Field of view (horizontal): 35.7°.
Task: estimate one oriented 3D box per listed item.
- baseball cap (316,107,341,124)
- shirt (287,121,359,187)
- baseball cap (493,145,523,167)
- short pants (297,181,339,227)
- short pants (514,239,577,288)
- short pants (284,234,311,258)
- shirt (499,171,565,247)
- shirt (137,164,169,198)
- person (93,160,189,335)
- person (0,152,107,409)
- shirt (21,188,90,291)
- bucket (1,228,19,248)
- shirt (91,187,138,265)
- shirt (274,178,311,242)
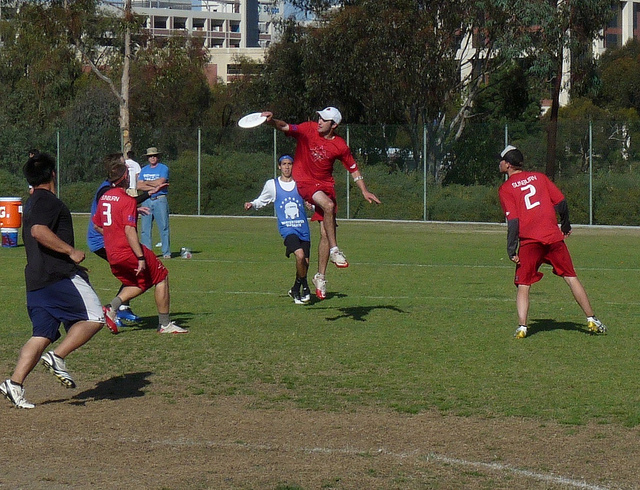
[{"bbox_3d":[0.164,-1.916,14.899,0.291,0.151,0.213,15,11,-32],"label":"baseball cap"},{"bbox_3d":[0.017,-1.362,15.200,0.905,0.988,0.699,1,6,-3],"label":"shirt"},{"bbox_3d":[2.500,-1.166,13.184,0.323,0.186,0.217,31,31,26],"label":"baseball cap"},{"bbox_3d":[-0.028,-0.649,15.367,0.568,0.657,1.038,-2,8,-28],"label":"short pants"},{"bbox_3d":[3.151,0.289,14.028,0.767,0.706,0.310,-6,30,8],"label":"short pants"},{"bbox_3d":[-0.366,0.010,15.655,0.389,0.225,0.368,15,41,-29],"label":"short pants"},{"bbox_3d":[2.758,-0.493,12.931,0.813,0.987,0.327,-10,-11,-7],"label":"shirt"},{"bbox_3d":[-3.444,-1.291,20.390,0.724,0.758,0.391,-2,-5,5],"label":"shirt"},{"bbox_3d":[-2.442,-0.017,12.747,0.850,2.072,1.192,1,6,2],"label":"person"},{"bbox_3d":[-2.889,0.380,10.662,1.056,2.676,0.706,0,6,-14],"label":"person"},{"bbox_3d":[-2.849,-0.115,10.786,0.714,1.065,0.903,-3,14,-15],"label":"shirt"},{"bbox_3d":[-7.664,-0.175,24.525,0.453,0.477,0.459,2,4,0],"label":"bucket"},{"bbox_3d":[-2.505,-0.221,12.439,0.601,0.985,0.281,6,8,38],"label":"shirt"},{"bbox_3d":[-0.445,-0.434,15.703,0.630,0.274,1.147,3,37,-5],"label":"shirt"}]
